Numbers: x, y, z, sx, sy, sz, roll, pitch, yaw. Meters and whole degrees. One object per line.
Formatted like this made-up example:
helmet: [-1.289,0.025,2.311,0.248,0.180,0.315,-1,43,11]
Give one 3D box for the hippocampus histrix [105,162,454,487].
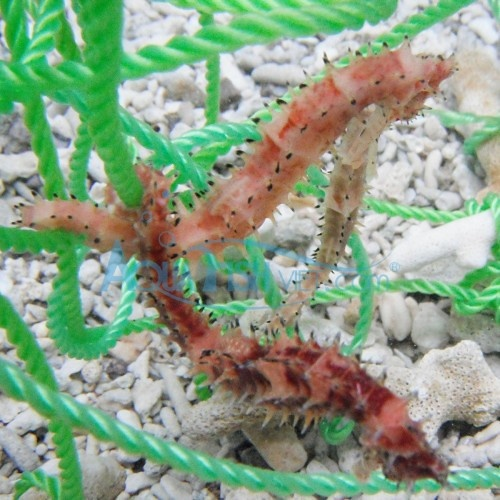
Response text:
hippocampus histrix: [0.029,0.124,0.869,0.423,0.113,0.128,33,89,-8]
